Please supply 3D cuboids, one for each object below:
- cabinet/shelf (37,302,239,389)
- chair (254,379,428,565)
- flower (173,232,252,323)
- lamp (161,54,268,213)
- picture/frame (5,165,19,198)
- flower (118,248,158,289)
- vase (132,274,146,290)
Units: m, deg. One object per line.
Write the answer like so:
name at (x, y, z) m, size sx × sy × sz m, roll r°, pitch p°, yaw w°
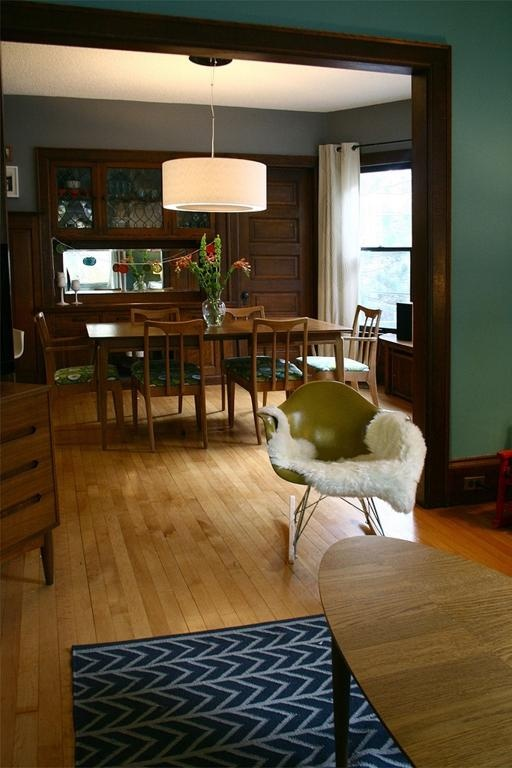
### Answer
cabinet/shelf at (-1.412, -0.530, 5.682) m, size 1.312 × 0.676 × 0.410 m, roll 0°, pitch 25°, yaw 23°
chair at (0.324, 0.256, 2.376) m, size 0.710 × 0.694 × 0.727 m, roll 1°, pitch 8°, yaw -1°
flower at (-0.351, -0.849, 4.521) m, size 0.670 × 0.774 × 0.213 m, roll -1°, pitch -5°, yaw -13°
lamp at (-0.293, -1.674, 3.702) m, size 0.638 × 0.911 × 0.635 m, roll -11°, pitch 24°, yaw -30°
picture/frame at (-2.400, -1.987, 5.506) m, size 0.111 × 0.309 × 0.087 m, roll -3°, pitch 6°, yaw -20°
flower at (-1.325, -1.275, 6.159) m, size 0.399 × 0.404 × 0.195 m, roll 0°, pitch 13°, yaw -9°
vase at (-1.291, -1.109, 6.096) m, size 0.145 × 0.165 × 0.148 m, roll -1°, pitch 1°, yaw -8°
